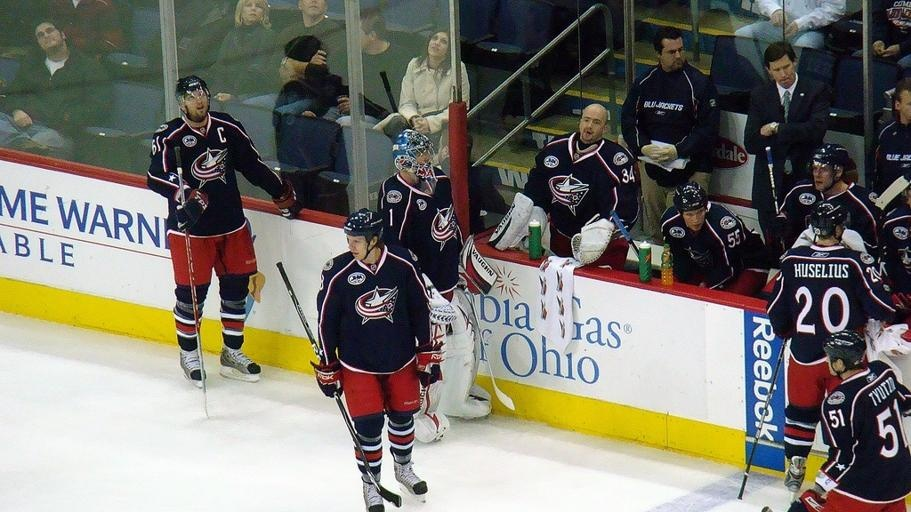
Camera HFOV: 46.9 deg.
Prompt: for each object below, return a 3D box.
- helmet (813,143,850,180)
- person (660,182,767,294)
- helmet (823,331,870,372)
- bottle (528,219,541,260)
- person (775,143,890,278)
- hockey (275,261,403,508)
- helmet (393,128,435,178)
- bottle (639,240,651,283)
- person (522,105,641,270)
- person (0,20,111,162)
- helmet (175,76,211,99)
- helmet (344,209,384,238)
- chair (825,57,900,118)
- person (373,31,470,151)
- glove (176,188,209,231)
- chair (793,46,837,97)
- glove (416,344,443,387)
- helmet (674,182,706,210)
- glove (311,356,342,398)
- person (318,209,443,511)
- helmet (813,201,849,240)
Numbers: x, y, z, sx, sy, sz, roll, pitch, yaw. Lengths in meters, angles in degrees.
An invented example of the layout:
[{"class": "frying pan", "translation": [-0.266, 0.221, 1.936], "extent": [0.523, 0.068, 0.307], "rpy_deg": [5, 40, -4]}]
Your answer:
[{"class": "helmet", "translation": [3.352, -0.855, 9.316], "extent": [0.349, 0.277, 0.200], "rpy_deg": [1, 10, -3]}, {"class": "person", "translation": [2.420, -0.179, 9.684], "extent": [1.005, 0.991, 0.493], "rpy_deg": [2, 10, 4]}, {"class": "helmet", "translation": [3.029, 0.726, 8.227], "extent": [0.341, 0.253, 0.310], "rpy_deg": [17, -25, -4]}, {"class": "bottle", "translation": [0.760, -0.146, 9.805], "extent": [0.140, 0.352, 0.123], "rpy_deg": [1, 10, -2]}, {"class": "person", "translation": [3.440, -0.334, 9.431], "extent": [1.019, 1.248, 0.769], "rpy_deg": [-3, -4, 29]}, {"class": "hockey", "translation": [-0.968, 1.156, 9.050], "extent": [0.340, 2.227, 0.140], "rpy_deg": [-25, 2, 22]}, {"class": "helmet", "translation": [-0.310, -0.961, 9.522], "extent": [0.447, 0.435, 0.378], "rpy_deg": [0, 24, 2]}, {"class": "bottle", "translation": [1.701, 0.046, 9.401], "extent": [0.114, 0.351, 0.131], "rpy_deg": [2, 10, 4]}, {"class": "person", "translation": [1.194, -0.646, 9.816], "extent": [1.051, 1.537, 0.702], "rpy_deg": [3, 10, 7]}, {"class": "person", "translation": [-4.137, -1.792, 10.985], "extent": [1.339, 1.460, 0.867], "rpy_deg": [9, 11, 23]}, {"class": "helmet", "translation": [-2.490, -1.613, 9.926], "extent": [0.287, 0.187, 0.169], "rpy_deg": [1, 10, -5]}, {"class": "helmet", "translation": [-0.731, -0.265, 8.553], "extent": [0.242, 0.256, 0.291], "rpy_deg": [-1, -12, -5]}, {"class": "chair", "translation": [3.823, -1.679, 10.112], "extent": [0.563, 0.663, 0.599], "rpy_deg": [15, 30, 35]}, {"class": "person", "translation": [-0.312, -1.486, 9.648], "extent": [0.995, 1.112, 0.855], "rpy_deg": [-1, 19, -19]}, {"class": "glove", "translation": [-2.526, -0.454, 9.952], "extent": [0.285, 0.376, 0.166], "rpy_deg": [35, -11, -23]}, {"class": "chair", "translation": [3.449, -1.766, 10.025], "extent": [0.432, 0.491, 0.437], "rpy_deg": [10, 16, 21]}, {"class": "glove", "translation": [-0.184, 0.905, 8.784], "extent": [0.150, 0.309, 0.324], "rpy_deg": [-1, 13, -22]}, {"class": "helmet", "translation": [2.122, -0.528, 9.550], "extent": [0.224, 0.260, 0.268], "rpy_deg": [-20, 36, 14]}, {"class": "glove", "translation": [-1.014, 0.998, 8.653], "extent": [0.151, 0.346, 0.297], "rpy_deg": [8, 12, 34]}, {"class": "person", "translation": [-0.639, 0.866, 8.639], "extent": [1.019, 2.475, 0.376], "rpy_deg": [1, 10, -2]}, {"class": "helmet", "translation": [3.071, -0.313, 8.630], "extent": [0.254, 0.307, 0.315], "rpy_deg": [13, -24, 27]}]
